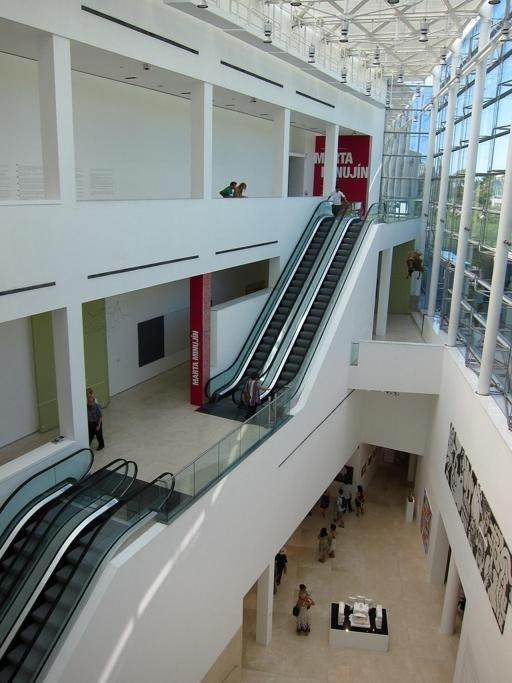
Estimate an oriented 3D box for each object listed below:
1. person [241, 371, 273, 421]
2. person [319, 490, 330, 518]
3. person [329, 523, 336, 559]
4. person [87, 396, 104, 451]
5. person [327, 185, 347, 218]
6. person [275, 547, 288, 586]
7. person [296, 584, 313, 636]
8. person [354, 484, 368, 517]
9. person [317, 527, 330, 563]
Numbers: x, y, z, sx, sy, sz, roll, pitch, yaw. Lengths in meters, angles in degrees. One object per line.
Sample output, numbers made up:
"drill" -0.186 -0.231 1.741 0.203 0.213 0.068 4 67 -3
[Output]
"person" -0.028 1.266 11.990 0.448 1.227 0.415 11 20 13
"person" 2.782 6.197 19.496 0.320 0.899 1.335 5 11 15
"person" 2.608 6.442 16.418 0.188 1.342 0.745 4 11 10
"person" -3.035 1.494 9.319 0.262 1.256 0.660 -1 11 -14
"person" 3.200 -5.338 19.023 0.686 1.182 1.940 4 11 9
"person" 0.820 6.848 15.395 0.258 1.097 0.973 4 11 13
"person" 1.374 7.165 13.619 0.432 1.286 1.178 3 11 8
"person" 4.185 6.198 19.551 0.428 0.960 1.022 4 11 13
"person" 2.294 6.531 16.145 0.361 1.304 0.559 4 11 11
